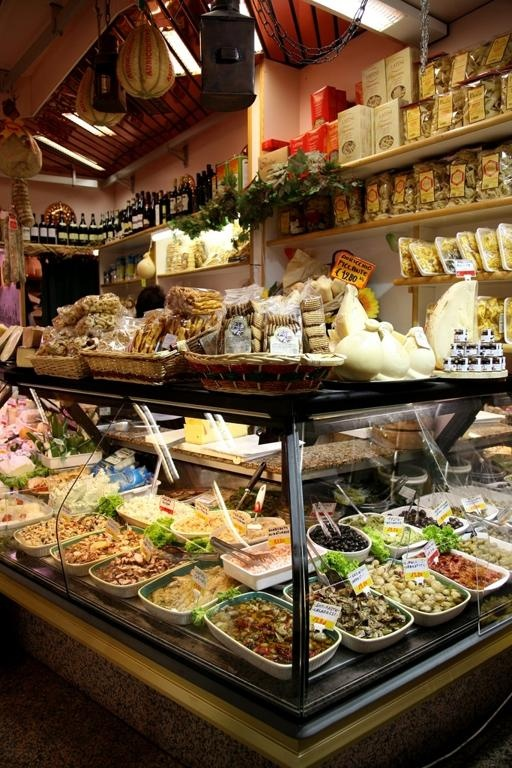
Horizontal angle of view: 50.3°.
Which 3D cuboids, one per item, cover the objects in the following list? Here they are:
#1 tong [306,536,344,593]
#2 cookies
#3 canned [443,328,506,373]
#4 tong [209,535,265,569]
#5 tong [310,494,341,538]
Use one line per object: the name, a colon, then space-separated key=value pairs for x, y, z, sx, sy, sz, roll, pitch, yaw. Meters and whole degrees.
tong: x=0.149 y=0.383 z=1.175 sx=0.039 sy=0.105 sz=0.097 roll=-7 pitch=-1 yaw=31
cookies: x=0.044 y=-0.126 z=1.146 sx=0.225 sy=0.130 sz=0.308 roll=-6 pitch=-1 yaw=-14
canned: x=0.596 y=-0.094 z=1.460 sx=0.163 sy=0.114 sz=0.121 roll=2 pitch=7 yaw=38
tong: x=-0.039 y=0.401 z=1.312 sx=0.099 sy=0.022 sz=0.057 roll=9 pitch=27 yaw=40
tong: x=0.156 y=0.302 z=1.236 sx=0.014 sy=0.038 sz=0.157 roll=-29 pitch=-29 yaw=1
